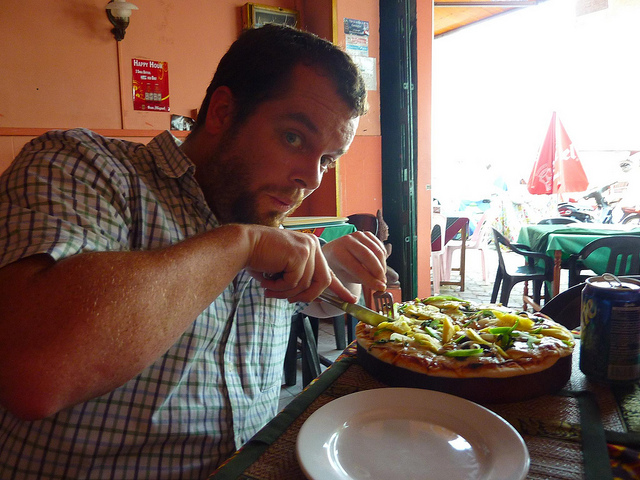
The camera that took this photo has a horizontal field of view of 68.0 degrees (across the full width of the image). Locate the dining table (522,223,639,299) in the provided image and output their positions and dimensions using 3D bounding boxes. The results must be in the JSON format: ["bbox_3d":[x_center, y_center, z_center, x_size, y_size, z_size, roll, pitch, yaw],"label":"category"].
[{"bbox_3d":[1.761,0.120,3.223,0.523,0.610,0.441,-1,23,0],"label":"dining table"}]

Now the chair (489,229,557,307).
[{"bbox_3d":[1.751,0.269,4.068,0.540,0.732,0.564,-5,9,-12],"label":"chair"}]

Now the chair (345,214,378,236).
[{"bbox_3d":[0.327,-0.111,3.598,0.168,0.224,0.190,0,2,25],"label":"chair"}]

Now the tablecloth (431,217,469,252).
[{"bbox_3d":[1.453,-0.074,5.381,0.206,0.347,0.565,5,9,45],"label":"tablecloth"}]

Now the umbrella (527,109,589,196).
[{"bbox_3d":[2.978,-1.099,5.975,0.714,1.018,0.333,4,8,38],"label":"umbrella"}]
